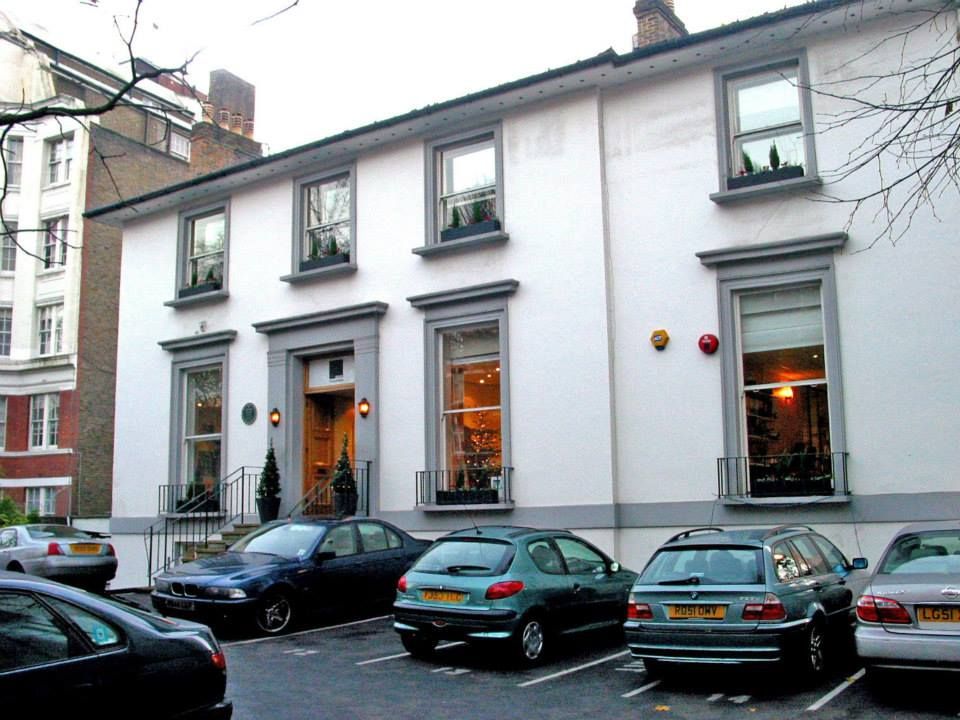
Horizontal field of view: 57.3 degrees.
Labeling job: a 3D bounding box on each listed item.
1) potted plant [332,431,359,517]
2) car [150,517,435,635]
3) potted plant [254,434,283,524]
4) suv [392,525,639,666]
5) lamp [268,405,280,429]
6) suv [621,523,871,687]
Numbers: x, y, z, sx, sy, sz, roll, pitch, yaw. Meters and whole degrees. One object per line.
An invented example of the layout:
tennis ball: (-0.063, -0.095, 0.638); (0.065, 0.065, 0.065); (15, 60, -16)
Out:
potted plant: (-2.646, 2.275, 17.272); (0.491, 1.573, 0.793); (0, -10, -8)
car: (-2.888, 3.275, 13.518); (1.858, 1.209, 3.989); (-7, -11, 36)
potted plant: (-4.399, 2.547, 18.319); (0.478, 1.648, 0.643); (1, -11, -14)
suv: (0.681, 2.854, 11.770); (1.576, 1.233, 2.945); (-7, -7, 42)
lamp: (-4.442, 1.223, 18.986); (0.258, 0.452, 0.126); (-4, -11, 11)
suv: (3.451, 2.787, 10.503); (1.403, 0.935, 2.916); (-7, -8, 36)
